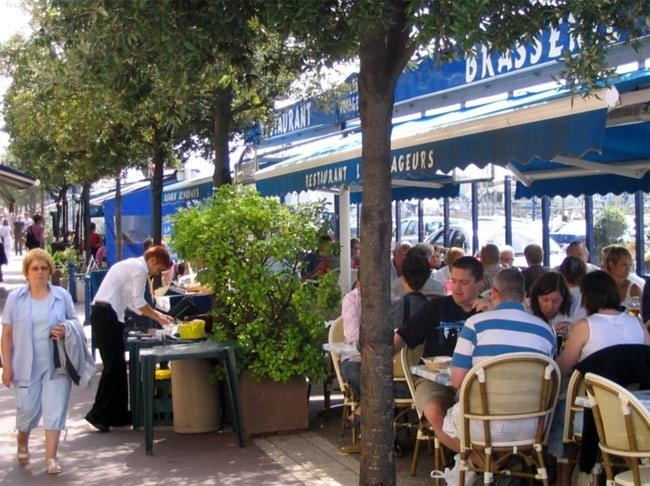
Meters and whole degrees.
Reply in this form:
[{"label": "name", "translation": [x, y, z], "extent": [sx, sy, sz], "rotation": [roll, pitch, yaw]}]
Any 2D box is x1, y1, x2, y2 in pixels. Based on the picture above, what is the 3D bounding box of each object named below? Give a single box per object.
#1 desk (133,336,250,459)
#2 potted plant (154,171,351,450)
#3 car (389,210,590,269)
[{"label": "desk", "translation": [-1.513, 1.617, 8.157], "extent": [1.058, 1.167, 1.144], "rotation": [-2, 4, -9]}, {"label": "potted plant", "translation": [-0.934, 0.832, 9.226], "extent": [2.351, 3.871, 2.436], "rotation": [-1, -2, -21]}, {"label": "car", "translation": [3.841, -0.163, 14.340], "extent": [1.313, 1.144, 2.972], "rotation": [0, -2, -29]}]
